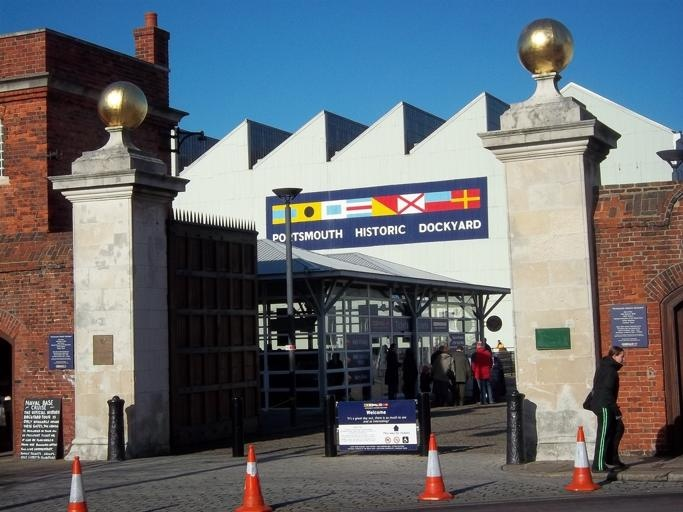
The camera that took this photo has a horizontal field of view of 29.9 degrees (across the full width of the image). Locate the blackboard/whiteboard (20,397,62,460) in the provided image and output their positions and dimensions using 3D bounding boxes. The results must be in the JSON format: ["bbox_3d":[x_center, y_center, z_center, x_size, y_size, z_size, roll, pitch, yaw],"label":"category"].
[{"bbox_3d":[-5.969,3.471,25.713,1.164,1.441,0.053,-1,-7,27],"label":"blackboard/whiteboard"}]

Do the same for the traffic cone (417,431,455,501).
[{"bbox_3d":[1.495,3.351,20.522,0.568,1.031,0.532,2,-6,-20],"label":"traffic cone"}]
